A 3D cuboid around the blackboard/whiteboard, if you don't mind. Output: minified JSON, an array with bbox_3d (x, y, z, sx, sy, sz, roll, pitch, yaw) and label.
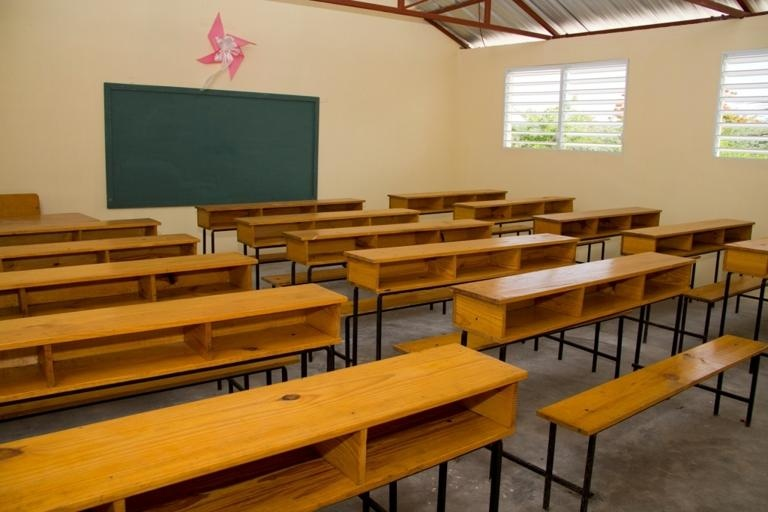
[{"bbox_3d":[-2.808,-1.738,8.367,3.731,1.212,0.145,-5,18,-30],"label":"blackboard/whiteboard"}]
